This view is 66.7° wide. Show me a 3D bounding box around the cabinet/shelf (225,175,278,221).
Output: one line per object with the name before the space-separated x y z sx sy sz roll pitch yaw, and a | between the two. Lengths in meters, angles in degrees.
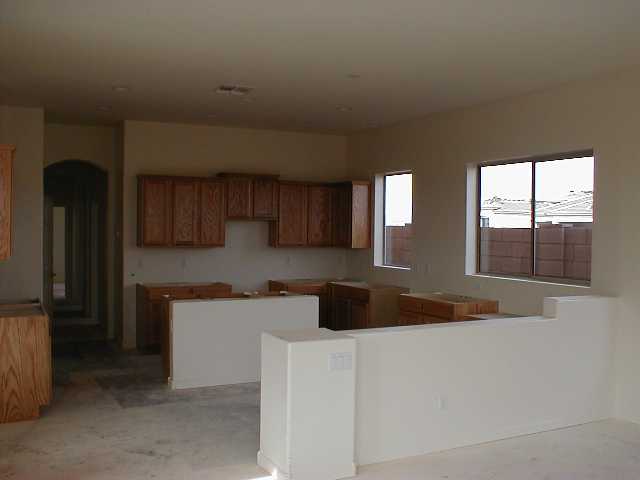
cabinet/shelf | -1.153 -0.685 8.322 0.893 0.812 0.373 0 -11 -7

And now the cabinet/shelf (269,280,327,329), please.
cabinet/shelf | -0.282 1.170 8.287 1.059 1.078 0.740 2 -5 -22

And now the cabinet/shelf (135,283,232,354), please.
cabinet/shelf | -2.101 1.241 7.791 1.263 1.082 0.686 1 -5 -23

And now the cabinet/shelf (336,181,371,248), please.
cabinet/shelf | 0.578 -0.448 8.520 0.617 1.149 0.319 0 2 9

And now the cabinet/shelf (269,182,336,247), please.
cabinet/shelf | -0.294 -0.454 8.729 1.111 1.147 0.391 -2 9 -25

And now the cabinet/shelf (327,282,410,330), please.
cabinet/shelf | 0.670 1.210 8.010 0.480 0.863 0.935 -2 3 -36
